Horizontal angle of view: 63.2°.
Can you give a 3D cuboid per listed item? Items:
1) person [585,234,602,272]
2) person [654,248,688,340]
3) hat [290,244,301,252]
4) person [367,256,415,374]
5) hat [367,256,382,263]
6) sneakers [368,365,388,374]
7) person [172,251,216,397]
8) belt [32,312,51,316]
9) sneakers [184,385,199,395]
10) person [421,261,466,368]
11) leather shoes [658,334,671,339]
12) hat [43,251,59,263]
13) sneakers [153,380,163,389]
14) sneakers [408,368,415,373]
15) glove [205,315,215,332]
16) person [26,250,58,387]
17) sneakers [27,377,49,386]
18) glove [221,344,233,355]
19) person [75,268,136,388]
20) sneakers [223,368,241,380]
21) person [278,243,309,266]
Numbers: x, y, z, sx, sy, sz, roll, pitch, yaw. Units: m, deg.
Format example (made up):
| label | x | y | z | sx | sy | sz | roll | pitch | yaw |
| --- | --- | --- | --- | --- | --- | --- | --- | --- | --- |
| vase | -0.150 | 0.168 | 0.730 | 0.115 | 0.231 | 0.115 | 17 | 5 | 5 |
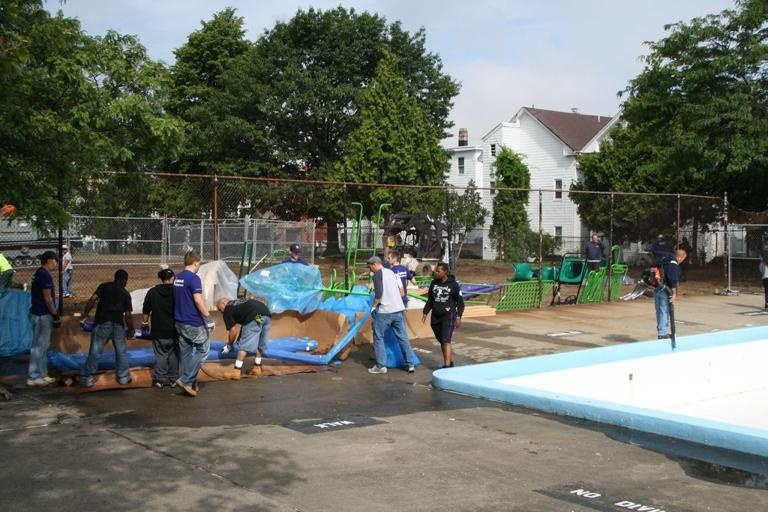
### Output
| label | x | y | z | sx | sy | sz | roll | pitch | yaw |
| --- | --- | --- | --- | --- | --- | --- | --- | --- | --- |
| person | 7.926 | -0.150 | 23.472 | 0.630 | 1.309 | 2.153 | 4 | 6 | 18 |
| person | 6.731 | 1.032 | 14.971 | 0.552 | 2.076 | 1.068 | 5 | 7 | 25 |
| hat | -2.217 | -0.174 | 15.398 | 0.272 | 0.193 | 0.419 | 9 | 2 | -9 |
| person | 0.131 | 1.203 | 12.478 | 0.902 | 2.209 | 0.684 | 1 | 7 | -5 |
| hat | -0.200 | 0.081 | 12.613 | 0.164 | 0.099 | 0.212 | 1 | 1 | -30 |
| sneakers | -0.144 | 2.254 | 12.344 | 0.322 | 0.131 | 0.146 | 1 | -2 | 21 |
| person | -3.316 | 1.171 | 10.830 | 0.641 | 2.413 | 0.915 | -1 | 7 | -18 |
| belt | -6.034 | 1.031 | 10.981 | 0.288 | 0.073 | 0.082 | -1 | 6 | -21 |
| sneakers | -3.309 | 2.291 | 10.721 | 0.237 | 0.190 | 0.425 | 0 | 6 | -16 |
| person | 1.193 | 1.162 | 12.430 | 0.476 | 2.032 | 0.722 | -5 | 9 | -43 |
| leather shoes | 6.830 | 1.969 | 15.120 | 0.383 | 0.138 | 0.125 | -4 | 4 | -27 |
| hat | -6.254 | 0.027 | 11.695 | 0.256 | 0.220 | 0.198 | -28 | 20 | -32 |
| sneakers | -4.001 | 2.293 | 11.073 | 0.120 | 0.070 | 0.189 | 1 | 8 | -41 |
| sneakers | 0.556 | 2.286 | 12.451 | 0.123 | 0.108 | 0.083 | 6 | -8 | -34 |
| glove | -2.946 | 1.174 | 10.770 | 0.206 | 0.261 | 0.103 | 1 | 10 | 38 |
| person | -6.105 | 1.105 | 11.101 | 0.505 | 2.319 | 0.700 | -2 | 8 | -27 |
| sneakers | -6.077 | 2.223 | 10.965 | 0.345 | 0.121 | 0.118 | -1 | 7 | -24 |
| glove | -3.046 | 1.831 | 12.095 | 0.291 | 0.248 | 0.151 | 2 | 1 | -23 |
| person | -4.862 | 1.258 | 10.959 | 0.854 | 1.943 | 0.723 | -1 | 7 | -22 |
| sneakers | -2.817 | 2.218 | 11.644 | 0.319 | 0.191 | 0.161 | 6 | -6 | 8 |
| person | -2.229 | -0.035 | 15.726 | 0.476 | 0.434 | 0.926 | 6 | -5 | -21 |
